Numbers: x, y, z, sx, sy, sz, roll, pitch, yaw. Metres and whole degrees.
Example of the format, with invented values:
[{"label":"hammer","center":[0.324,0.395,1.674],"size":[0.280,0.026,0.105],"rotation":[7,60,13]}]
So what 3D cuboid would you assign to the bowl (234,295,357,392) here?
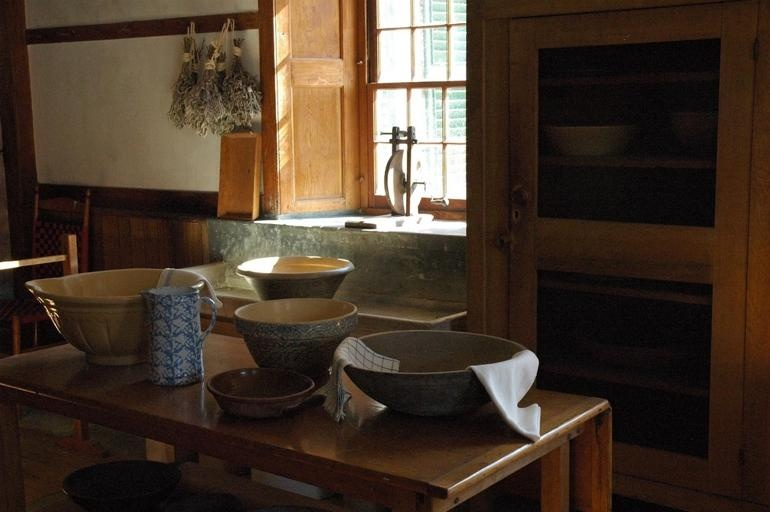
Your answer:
[{"label":"bowl","center":[-0.300,0.250,2.049],"size":[0.385,0.218,0.384],"rotation":[4,10,-1]}]

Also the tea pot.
[{"label":"tea pot","center":[-0.660,0.256,1.997],"size":[0.311,0.339,0.196],"rotation":[-1,2,-28]}]

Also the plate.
[{"label":"plate","center":[-0.341,0.384,1.777],"size":[0.281,0.076,0.283],"rotation":[2,7,-6]}]

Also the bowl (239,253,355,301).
[{"label":"bowl","center":[-0.468,0.106,3.239],"size":[0.525,0.166,0.593],"rotation":[-4,12,-21]}]

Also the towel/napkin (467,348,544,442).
[{"label":"towel/napkin","center":[0.330,0.363,1.718],"size":[0.185,0.178,0.202],"rotation":[3,11,14]}]

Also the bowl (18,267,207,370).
[{"label":"bowl","center":[-0.951,0.209,2.216],"size":[0.512,0.253,0.532],"rotation":[-5,7,1]}]

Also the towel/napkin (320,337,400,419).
[{"label":"towel/napkin","center":[-0.087,0.358,1.781],"size":[0.159,0.150,0.177],"rotation":[17,12,42]}]
